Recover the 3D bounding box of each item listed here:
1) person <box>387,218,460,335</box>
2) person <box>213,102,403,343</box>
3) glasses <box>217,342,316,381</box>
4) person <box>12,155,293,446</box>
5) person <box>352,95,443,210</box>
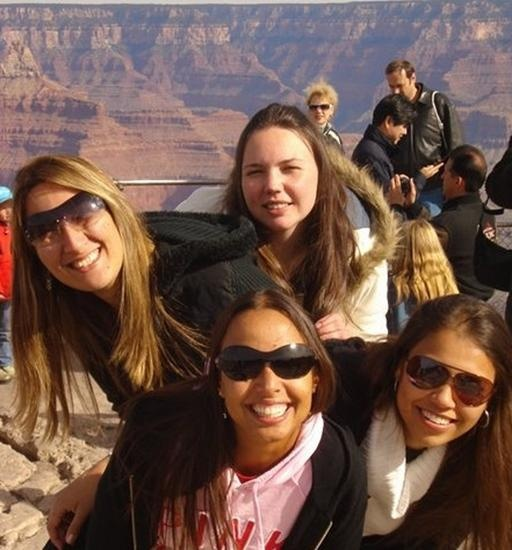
[{"bbox_3d":[0.932,0.001,3.846,0.432,0.749,0.285,-1,-15,-20],"label":"person"},{"bbox_3d":[0.224,-0.272,2.794,0.761,1.035,0.437,-15,35,-8],"label":"person"},{"bbox_3d":[0.030,0.268,1.971,0.298,0.123,0.073,2,7,0],"label":"glasses"},{"bbox_3d":[-0.476,0.008,2.439,0.936,1.126,0.645,-14,30,1],"label":"person"},{"bbox_3d":[1.201,-0.976,5.728,0.782,1.115,0.758,16,15,17],"label":"person"}]
